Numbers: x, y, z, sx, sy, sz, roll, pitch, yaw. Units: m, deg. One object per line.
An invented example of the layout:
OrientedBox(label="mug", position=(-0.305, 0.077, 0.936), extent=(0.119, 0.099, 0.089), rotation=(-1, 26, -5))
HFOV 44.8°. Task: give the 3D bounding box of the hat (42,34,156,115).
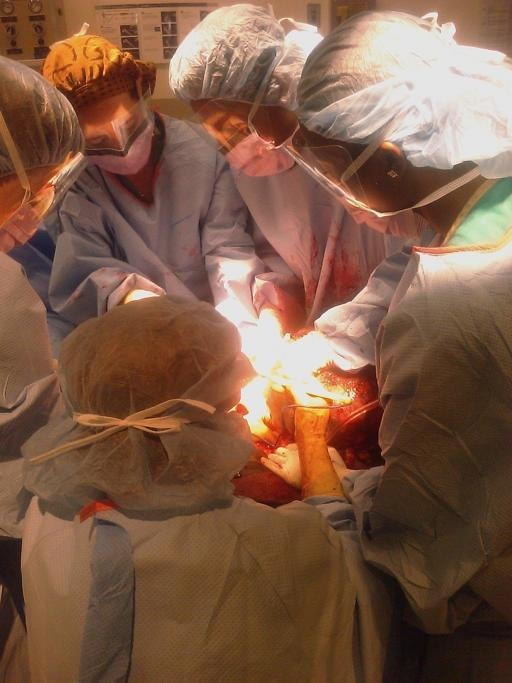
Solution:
OrientedBox(label="hat", position=(-0.569, -0.924, 2.227), extent=(0.390, 0.178, 0.404), rotation=(-16, 36, -17))

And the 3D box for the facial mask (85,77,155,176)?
OrientedBox(label="facial mask", position=(-0.486, -0.764, 2.304), extent=(0.283, 0.269, 0.261), rotation=(-13, -14, 6))
